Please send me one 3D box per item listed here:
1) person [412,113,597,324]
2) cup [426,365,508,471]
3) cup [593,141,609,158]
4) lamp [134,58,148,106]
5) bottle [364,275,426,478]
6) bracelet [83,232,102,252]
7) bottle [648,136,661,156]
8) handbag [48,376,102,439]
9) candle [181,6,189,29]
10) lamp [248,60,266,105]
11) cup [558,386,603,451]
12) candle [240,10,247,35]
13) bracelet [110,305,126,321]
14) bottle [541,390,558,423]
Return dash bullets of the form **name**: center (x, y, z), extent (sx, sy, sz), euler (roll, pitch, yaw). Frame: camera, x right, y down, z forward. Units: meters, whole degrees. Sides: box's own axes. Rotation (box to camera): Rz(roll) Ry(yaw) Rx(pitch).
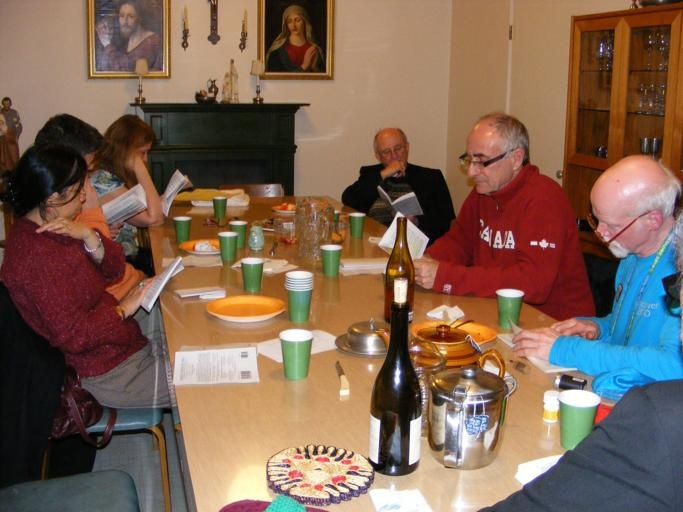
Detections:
- **person**: center (0.773, -0.001, 2.533), extent (0.817, 1.241, 0.770), euler (0, 12, 27)
- **cup**: center (0.252, 0.320, 1.078), extent (0.149, 0.197, 0.247), euler (5, 10, 26)
- **cup**: center (1.872, -0.761, 3.824), extent (0.078, 0.082, 0.083), euler (-4, 20, 1)
- **lamp**: center (-2.141, -1.858, 5.682), extent (0.162, 0.478, 0.341), euler (-6, 14, -18)
- **bottle**: center (0.104, 0.225, 1.011), extent (0.120, 0.380, 0.093), euler (-5, 14, -13)
- **bracelet**: center (-0.950, -0.055, 2.031), extent (0.050, 0.048, 0.072), euler (2, 29, -4)
- **bottle**: center (2.033, -0.703, 3.437), extent (0.027, 0.120, 0.092), euler (-3, 14, -6)
- **handbag**: center (-0.890, 0.503, 1.764), extent (0.109, 0.234, 0.215), euler (-14, 14, -33)
- **candle**: center (-1.701, -2.589, 5.754), extent (0.074, 0.226, 0.096), euler (-2, 13, -2)
- **lamp**: center (-0.933, -1.953, 5.949), extent (0.147, 0.487, 0.322), euler (-3, 14, -7)
- **cup**: center (0.483, 0.355, 1.117), extent (0.071, 0.087, 0.077), euler (9, -10, 2)
- **candle**: center (-1.073, -2.589, 5.873), extent (0.078, 0.256, 0.117), euler (-4, 14, -9)
- **bracelet**: center (-0.828, 0.210, 1.987), extent (0.022, 0.067, 0.057), euler (-18, 13, -19)
- **bottle**: center (0.473, 0.339, 1.196), extent (0.049, 0.058, 0.052), euler (-2, 6, -1)
